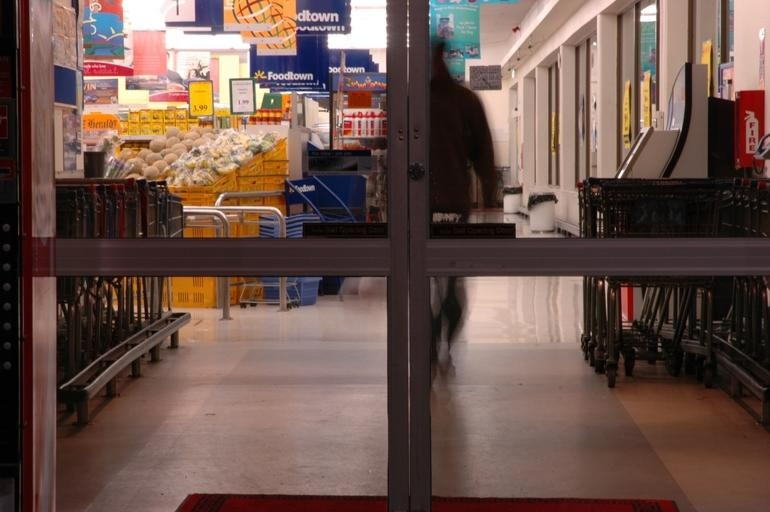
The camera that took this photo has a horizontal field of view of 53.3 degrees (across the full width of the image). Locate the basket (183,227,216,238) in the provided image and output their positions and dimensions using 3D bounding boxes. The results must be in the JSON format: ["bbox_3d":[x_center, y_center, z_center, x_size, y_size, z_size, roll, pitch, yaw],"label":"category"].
[{"bbox_3d":[-1.269,-0.172,5.450,0.229,0.064,0.259,0,1,0],"label":"basket"}]

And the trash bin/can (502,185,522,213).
[{"bbox_3d":[0.554,-0.252,3.354,0.103,0.109,0.107,0,3,-13],"label":"trash bin/can"}]

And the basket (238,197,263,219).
[{"bbox_3d":[-0.831,-0.300,4.735,0.148,0.149,0.592,-3,8,-12],"label":"basket"}]

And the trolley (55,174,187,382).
[{"bbox_3d":[-1.357,0.076,3.800,0.583,1.206,0.460,-1,4,-11],"label":"trolley"}]

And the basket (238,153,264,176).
[{"bbox_3d":[-0.798,-0.548,4.603,0.071,0.126,0.298,-6,9,-32],"label":"basket"}]

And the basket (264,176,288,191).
[{"bbox_3d":[-0.644,-0.427,4.446,0.098,0.084,0.343,-3,8,-12],"label":"basket"}]

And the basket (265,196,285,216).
[{"bbox_3d":[-0.632,-0.301,4.351,0.083,0.098,0.418,-4,8,-17],"label":"basket"}]

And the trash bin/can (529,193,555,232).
[{"bbox_3d":[0.683,-0.190,3.439,0.149,0.160,0.152,1,-7,-3],"label":"trash bin/can"}]

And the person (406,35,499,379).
[{"bbox_3d":[0.351,-0.228,3.479,0.304,1.474,0.432,-1,6,4],"label":"person"}]
